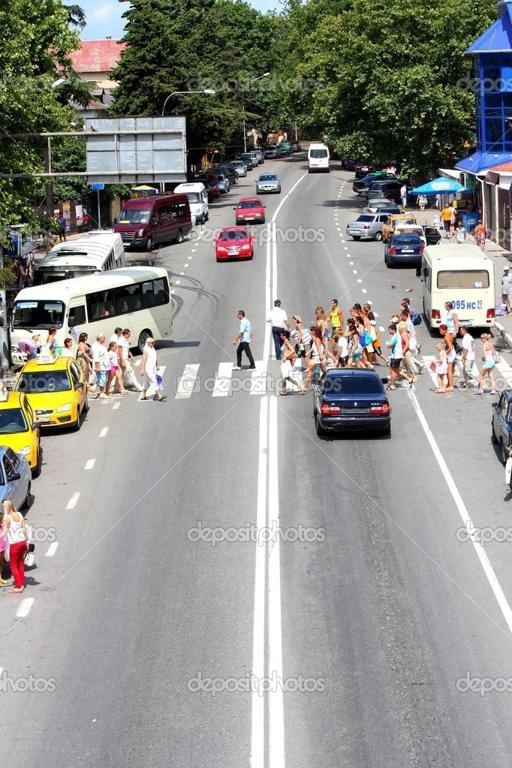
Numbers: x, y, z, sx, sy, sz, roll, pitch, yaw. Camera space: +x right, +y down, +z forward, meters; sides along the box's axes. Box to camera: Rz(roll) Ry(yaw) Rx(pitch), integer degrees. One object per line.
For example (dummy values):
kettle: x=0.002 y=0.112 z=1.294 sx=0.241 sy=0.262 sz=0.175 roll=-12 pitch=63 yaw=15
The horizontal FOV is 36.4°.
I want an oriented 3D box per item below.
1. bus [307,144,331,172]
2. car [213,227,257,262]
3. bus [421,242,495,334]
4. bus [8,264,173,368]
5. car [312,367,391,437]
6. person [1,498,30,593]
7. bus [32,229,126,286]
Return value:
bus: x=6.889 y=-25.139 z=85.748 sx=1.790 sy=2.136 sz=3.944 roll=-1 pitch=18 yaw=2
car: x=-1.126 y=-7.325 z=40.543 sx=1.882 sy=1.651 sz=1.914 roll=-2 pitch=10 yaw=4
bus: x=6.805 y=-3.571 z=26.507 sx=1.926 sy=2.260 sz=3.835 roll=-1 pitch=27 yaw=2
bus: x=-5.280 y=-2.243 z=25.636 sx=2.337 sy=2.750 sz=5.775 roll=8 pitch=16 yaw=30
car: x=2.005 y=0.297 z=16.738 sx=1.504 sy=1.410 sz=1.485 roll=-4 pitch=12 yaw=-5
person: x=-3.131 y=2.097 z=10.362 sx=0.500 sy=1.127 sz=0.505 roll=1 pitch=13 yaw=4
bus: x=-6.461 y=-4.754 z=29.698 sx=2.050 sy=1.955 sz=4.204 roll=2 pitch=19 yaw=3
